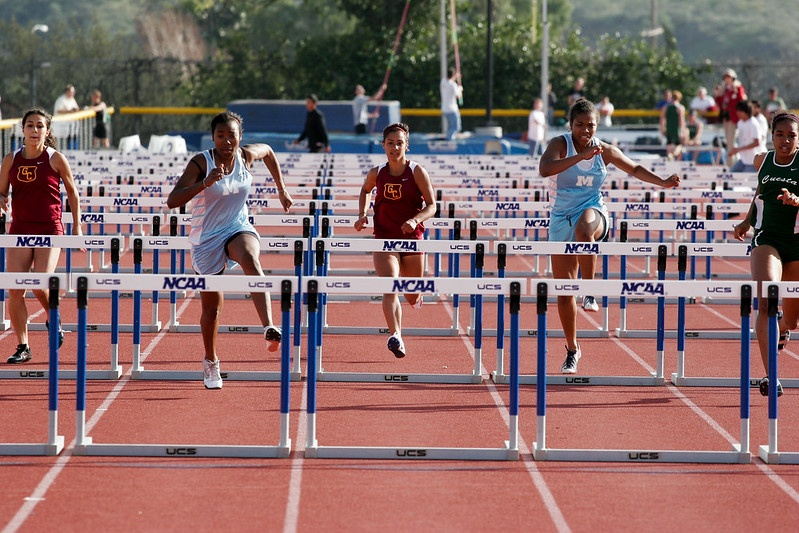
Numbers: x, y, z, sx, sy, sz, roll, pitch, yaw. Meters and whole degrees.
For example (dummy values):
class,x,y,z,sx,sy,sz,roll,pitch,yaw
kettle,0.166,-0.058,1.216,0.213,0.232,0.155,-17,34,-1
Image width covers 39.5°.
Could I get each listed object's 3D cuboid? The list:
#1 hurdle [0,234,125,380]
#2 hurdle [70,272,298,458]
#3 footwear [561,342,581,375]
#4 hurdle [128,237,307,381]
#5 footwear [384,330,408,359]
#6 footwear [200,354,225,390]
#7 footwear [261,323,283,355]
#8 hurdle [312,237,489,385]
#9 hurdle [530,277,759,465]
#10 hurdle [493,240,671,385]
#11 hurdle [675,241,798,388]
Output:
class,x,y,z,sx,sy,sz,roll,pitch,yaw
hurdle,-3.170,0.423,10.358,1.445,1.480,0.806,1,-2,-1
hurdle,-1.889,0.907,9.738,1.512,1.238,0.185,1,-8,-3
footwear,1.604,0.860,10.461,0.124,0.152,0.376,0,14,14
hurdle,-1.647,0.457,9.633,1.478,1.017,1.434,1,10,-2
footwear,-0.041,0.725,9.994,0.118,0.303,0.141,-5,45,10
footwear,-1.642,0.915,9.714,0.134,0.142,0.350,-3,12,-15
footwear,-1.073,0.593,9.296,0.159,0.164,0.384,1,-31,-8
hurdle,-0.019,0.412,10.718,1.508,0.862,1.389,1,3,0
hurdle,2.154,0.974,9.904,1.531,1.228,0.255,1,-6,-3
hurdle,1.755,0.503,10.708,1.483,0.967,0.087,0,-7,-1
hurdle,3.197,0.475,9.785,1.555,1.320,1.162,-1,5,7
